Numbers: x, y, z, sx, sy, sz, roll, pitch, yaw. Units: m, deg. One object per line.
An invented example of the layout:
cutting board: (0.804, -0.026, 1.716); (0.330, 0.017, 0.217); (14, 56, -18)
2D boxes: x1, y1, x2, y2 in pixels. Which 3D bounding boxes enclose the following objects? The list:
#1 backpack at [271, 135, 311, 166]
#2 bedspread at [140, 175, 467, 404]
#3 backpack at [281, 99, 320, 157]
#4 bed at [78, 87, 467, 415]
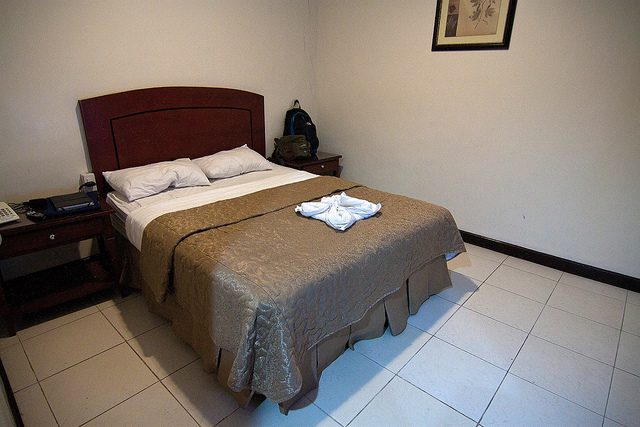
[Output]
backpack: (-0.271, -0.763, 5.133); (0.633, 0.300, 0.802); (-1, 7, 10)
bedspread: (-0.230, 0.394, 3.604); (1.794, 0.814, 2.248); (27, 37, 37)
backpack: (-0.279, -1.121, 5.320); (0.464, 0.753, 0.428); (-9, 11, -30)
bed: (-0.724, -0.052, 4.036); (3.299, 2.034, 2.617); (16, 25, 34)
